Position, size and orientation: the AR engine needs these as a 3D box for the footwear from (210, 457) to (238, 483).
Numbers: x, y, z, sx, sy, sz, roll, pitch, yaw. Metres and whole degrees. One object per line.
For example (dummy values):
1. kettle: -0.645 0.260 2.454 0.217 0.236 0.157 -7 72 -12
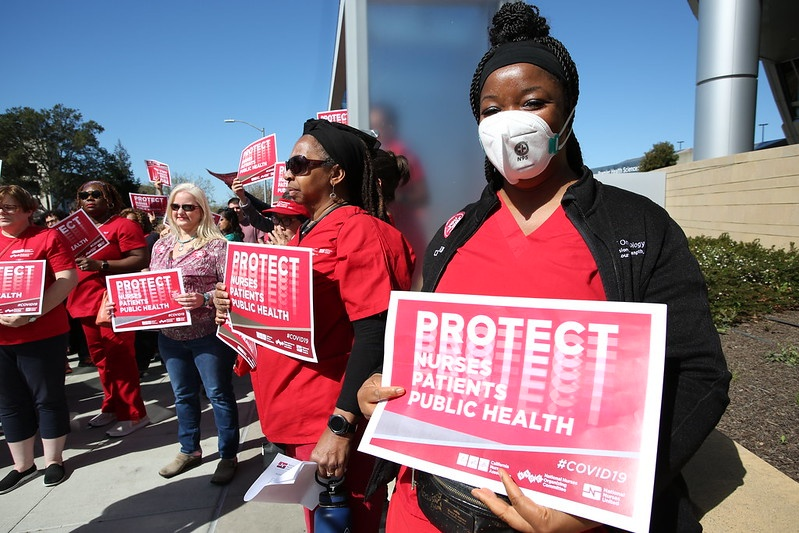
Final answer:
1. footwear: -1.704 2.003 5.048 0.131 0.116 0.287 0 0 6

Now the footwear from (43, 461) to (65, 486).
1. footwear: -3.372 2.031 5.029 0.121 0.094 0.248 0 8 -14

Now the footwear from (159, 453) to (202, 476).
1. footwear: -2.180 1.984 5.166 0.151 0.157 0.397 12 15 40

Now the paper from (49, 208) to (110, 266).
1. paper: -3.387 -0.297 5.483 0.538 0.548 0.025 -36 39 -17

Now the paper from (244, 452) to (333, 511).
1. paper: -0.608 1.237 2.909 0.339 0.147 0.370 -28 -43 20
